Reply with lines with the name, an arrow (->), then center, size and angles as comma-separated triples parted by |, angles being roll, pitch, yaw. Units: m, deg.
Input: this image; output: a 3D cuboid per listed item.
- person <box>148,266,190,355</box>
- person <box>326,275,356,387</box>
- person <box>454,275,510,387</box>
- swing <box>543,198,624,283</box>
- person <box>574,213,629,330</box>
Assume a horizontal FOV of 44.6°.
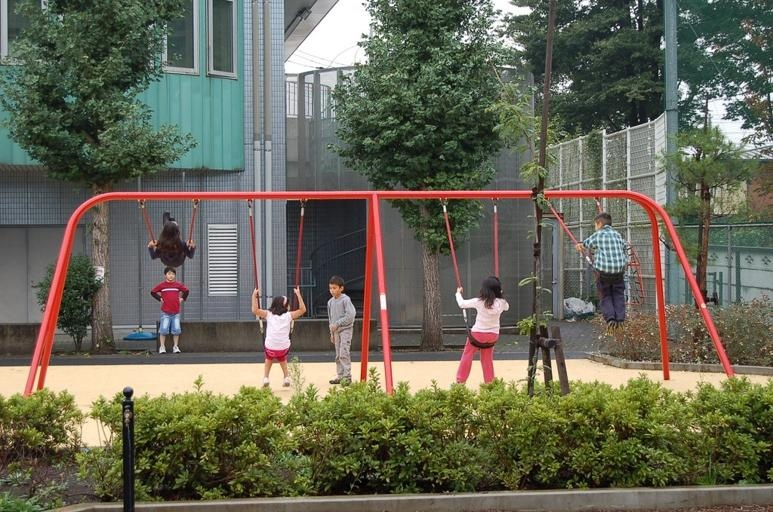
person -> -5.062, 1.237, 21.950 | 0.847, 2.024, 0.463 | 2, -4, -24
person -> -0.877, 1.385, 17.834 | 0.583, 1.884, 0.773 | 0, 0, 34
person -> 1.606, 1.384, 16.564 | 0.862, 2.096, 0.859 | 4, 6, 2
swing -> 4.100, -0.300, 19.217 | 1.530, 1.580, 1.863 | 0, -1, -21
person -> 4.366, 0.284, 18.763 | 0.933, 2.315, 0.776 | -1, -3, -15
